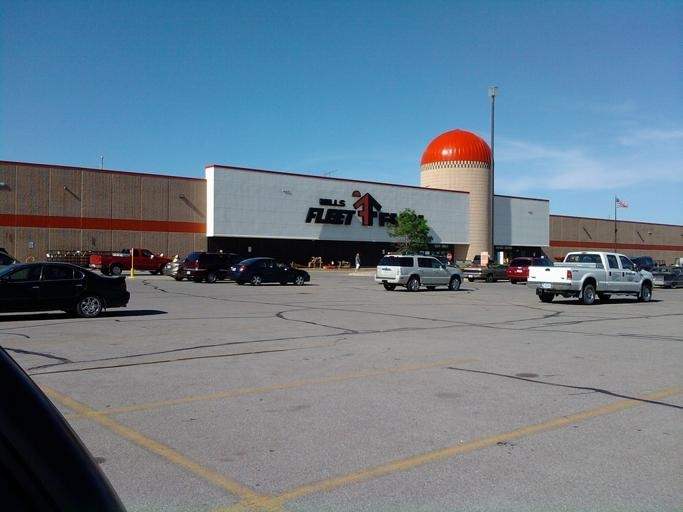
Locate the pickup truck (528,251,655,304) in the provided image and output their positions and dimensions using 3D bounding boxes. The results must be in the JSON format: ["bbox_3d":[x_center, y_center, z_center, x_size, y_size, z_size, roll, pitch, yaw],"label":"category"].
[{"bbox_3d":[9.914,0.894,23.811,4.440,1.676,2.390,-3,2,-31],"label":"pickup truck"}]

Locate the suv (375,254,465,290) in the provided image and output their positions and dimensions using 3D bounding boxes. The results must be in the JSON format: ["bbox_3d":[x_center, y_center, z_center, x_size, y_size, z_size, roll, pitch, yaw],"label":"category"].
[{"bbox_3d":[4.147,0.886,31.851,3.935,1.672,2.022,-3,3,-33],"label":"suv"}]

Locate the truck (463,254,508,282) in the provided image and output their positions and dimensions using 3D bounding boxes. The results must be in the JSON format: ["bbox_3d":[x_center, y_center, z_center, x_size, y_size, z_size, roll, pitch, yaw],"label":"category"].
[{"bbox_3d":[10.813,0.972,43.908,2.954,1.684,6.170,1,1,15],"label":"truck"}]

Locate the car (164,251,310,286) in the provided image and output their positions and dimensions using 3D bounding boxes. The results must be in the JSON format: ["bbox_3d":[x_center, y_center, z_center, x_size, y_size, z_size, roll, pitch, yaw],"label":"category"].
[{"bbox_3d":[-6.053,0.735,34.810,7.303,1.796,3.328,1,1,33],"label":"car"}]

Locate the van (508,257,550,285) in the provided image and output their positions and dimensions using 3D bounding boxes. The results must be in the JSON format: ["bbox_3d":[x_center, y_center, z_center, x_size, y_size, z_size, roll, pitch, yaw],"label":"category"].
[{"bbox_3d":[10.435,0.830,32.963,1.334,1.195,2.342,4,9,44],"label":"van"}]
